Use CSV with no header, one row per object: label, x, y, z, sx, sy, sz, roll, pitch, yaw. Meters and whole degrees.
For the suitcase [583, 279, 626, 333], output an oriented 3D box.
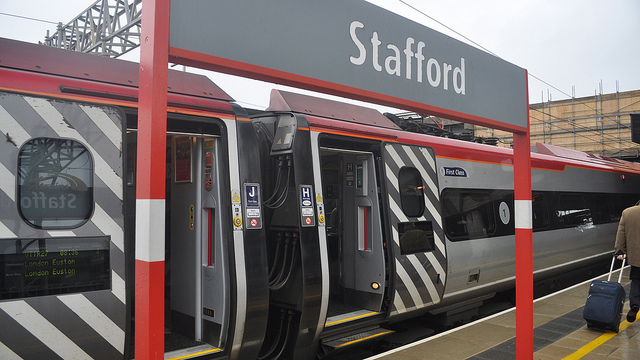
suitcase,5.027,2.253,7.267,0.718,0.886,0.389,-2,-2,-28
